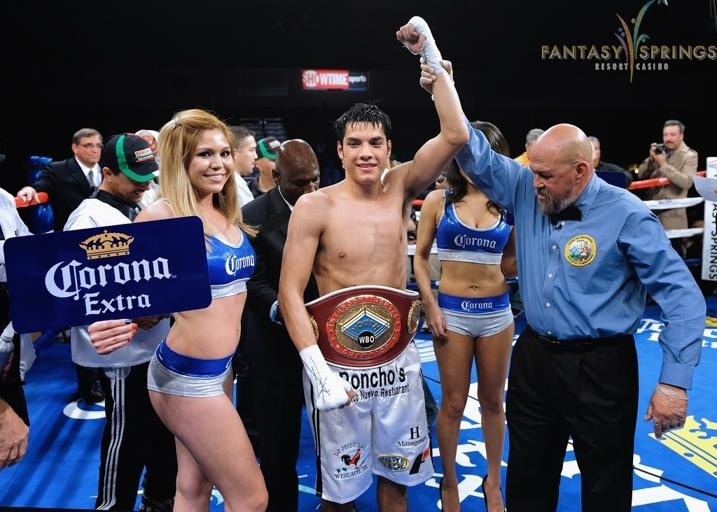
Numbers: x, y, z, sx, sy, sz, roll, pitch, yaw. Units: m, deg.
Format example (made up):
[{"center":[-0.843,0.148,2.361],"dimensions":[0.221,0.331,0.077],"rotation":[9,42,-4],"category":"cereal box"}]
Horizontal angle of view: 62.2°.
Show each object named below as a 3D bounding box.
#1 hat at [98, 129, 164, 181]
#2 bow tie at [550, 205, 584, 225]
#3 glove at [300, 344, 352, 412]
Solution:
[{"center":[-1.410,-0.623,3.739],"dimensions":[0.369,0.209,0.257],"rotation":[25,34,17],"category":"hat"},{"center":[1.166,-0.239,3.348],"dimensions":[0.127,0.075,0.096],"rotation":[-21,23,-16],"category":"bow tie"},{"center":[-0.171,0.652,3.226],"dimensions":[0.275,0.317,0.202],"rotation":[-5,12,-3],"category":"glove"}]
